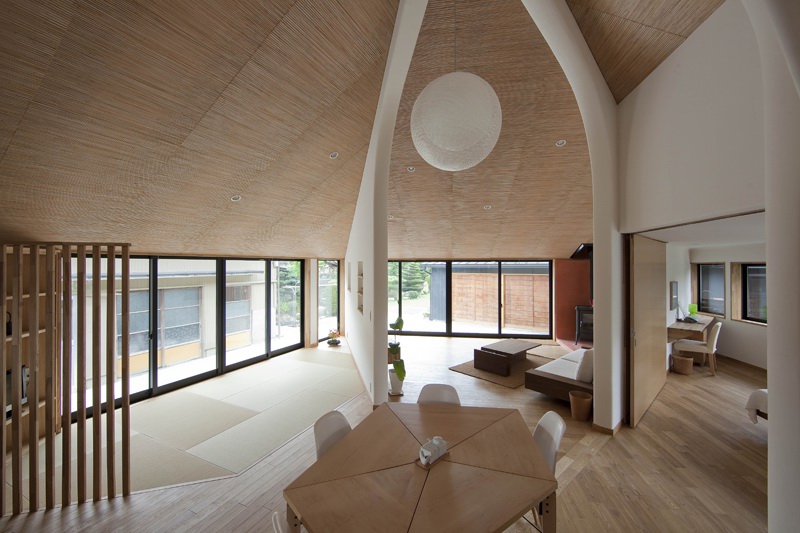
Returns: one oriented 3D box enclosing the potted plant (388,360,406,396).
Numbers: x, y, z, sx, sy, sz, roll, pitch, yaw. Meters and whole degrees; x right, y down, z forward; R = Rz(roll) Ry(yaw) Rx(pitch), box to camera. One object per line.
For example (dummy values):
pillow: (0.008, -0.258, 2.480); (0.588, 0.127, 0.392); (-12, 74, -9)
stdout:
potted plant: (-0.057, 1.838, 7.927); (0.234, 0.604, 0.634); (-2, 0, -2)

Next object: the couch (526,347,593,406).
couch: (2.568, 1.719, 7.679); (0.967, 0.732, 1.502); (-2, -1, 16)

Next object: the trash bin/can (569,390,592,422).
trash bin/can: (2.653, 2.055, 6.952); (0.351, 0.321, 0.373); (-1, -6, 1)

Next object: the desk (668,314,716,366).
desk: (5.499, 1.331, 8.853); (0.676, 0.840, 1.758); (0, 2, 41)

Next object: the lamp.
lamp: (0.596, -1.556, 5.068); (0.944, 0.943, 0.362); (-2, 0, 4)

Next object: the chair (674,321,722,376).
chair: (5.673, 1.532, 9.211); (0.954, 1.175, 0.903); (0, -2, 42)
